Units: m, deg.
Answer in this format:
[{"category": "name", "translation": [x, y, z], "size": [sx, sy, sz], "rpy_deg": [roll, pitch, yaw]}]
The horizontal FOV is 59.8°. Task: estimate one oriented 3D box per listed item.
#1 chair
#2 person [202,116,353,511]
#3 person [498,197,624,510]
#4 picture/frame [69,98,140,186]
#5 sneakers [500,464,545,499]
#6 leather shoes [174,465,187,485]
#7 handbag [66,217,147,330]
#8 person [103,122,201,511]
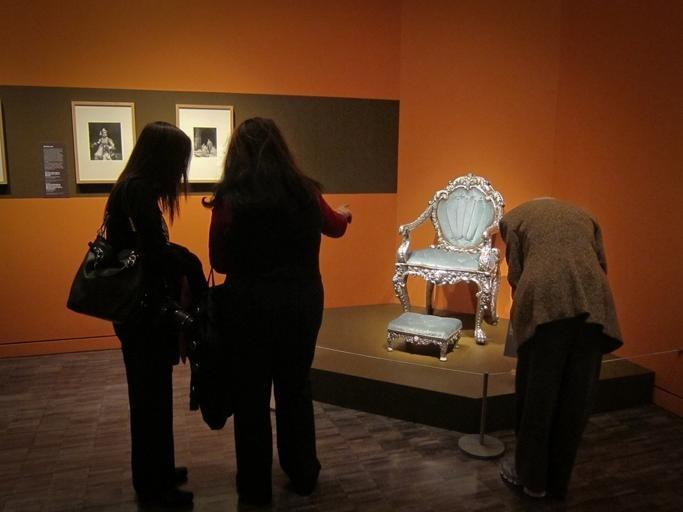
[{"category": "chair", "translation": [1.090, -0.004, 5.863], "size": [0.888, 1.573, 0.781], "rpy_deg": [6, 10, 32]}, {"category": "person", "translation": [-0.441, 0.388, 3.633], "size": [0.751, 2.403, 0.323], "rpy_deg": [0, 8, -4]}, {"category": "person", "translation": [1.364, 0.604, 3.832], "size": [0.747, 1.911, 0.378], "rpy_deg": [4, 9, 16]}, {"category": "picture/frame", "translation": [-2.270, -1.075, 5.659], "size": [0.534, 0.788, 0.032], "rpy_deg": [-7, 38, -30]}, {"category": "sneakers", "translation": [1.193, 1.494, 3.960], "size": [0.109, 0.159, 0.334], "rpy_deg": [-11, 29, -17]}, {"category": "leather shoes", "translation": [-1.085, 1.454, 3.994], "size": [0.129, 0.102, 0.073], "rpy_deg": [0, 1, -29]}, {"category": "handbag", "translation": [-1.378, 0.151, 3.500], "size": [0.417, 0.509, 0.215], "rpy_deg": [3, 9, 9]}, {"category": "person", "translation": [-1.138, 0.403, 3.630], "size": [0.582, 2.385, 0.275], "rpy_deg": [-1, 9, -14]}]
